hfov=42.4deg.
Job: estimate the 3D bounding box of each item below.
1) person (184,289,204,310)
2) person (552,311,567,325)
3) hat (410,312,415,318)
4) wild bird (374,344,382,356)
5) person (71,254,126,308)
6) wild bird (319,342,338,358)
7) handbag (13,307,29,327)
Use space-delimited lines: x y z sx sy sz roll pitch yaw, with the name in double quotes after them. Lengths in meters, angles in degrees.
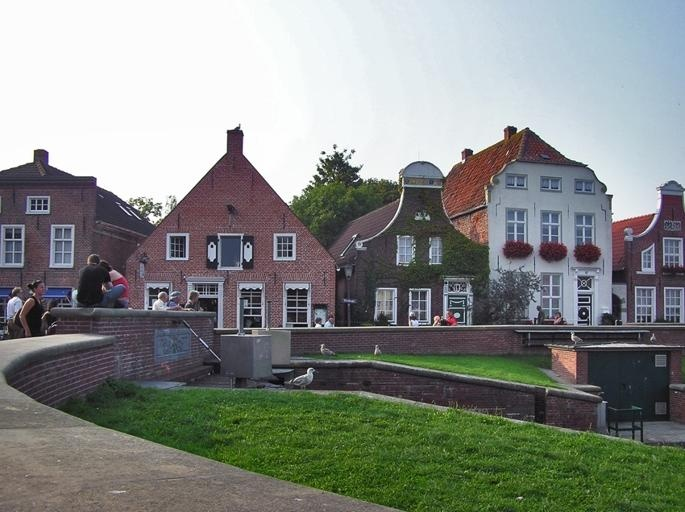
-3.781 1.122 22.413 0.368 0.475 2.005 9 2 -10 "person"
9.156 2.626 37.563 0.549 0.855 0.329 -3 -3 1 "person"
2.567 2.152 32.719 0.150 0.202 0.202 -2 -22 4 "hat"
1.100 2.996 28.102 0.188 0.273 0.276 -1 -34 -2 "wild bird"
-5.004 0.566 17.952 0.897 1.266 0.940 -7 4 -41 "person"
-0.499 2.846 26.696 0.235 0.493 0.668 -3 -1 -43 "wild bird"
-6.621 1.255 18.181 0.306 0.419 0.149 25 18 -32 "handbag"
